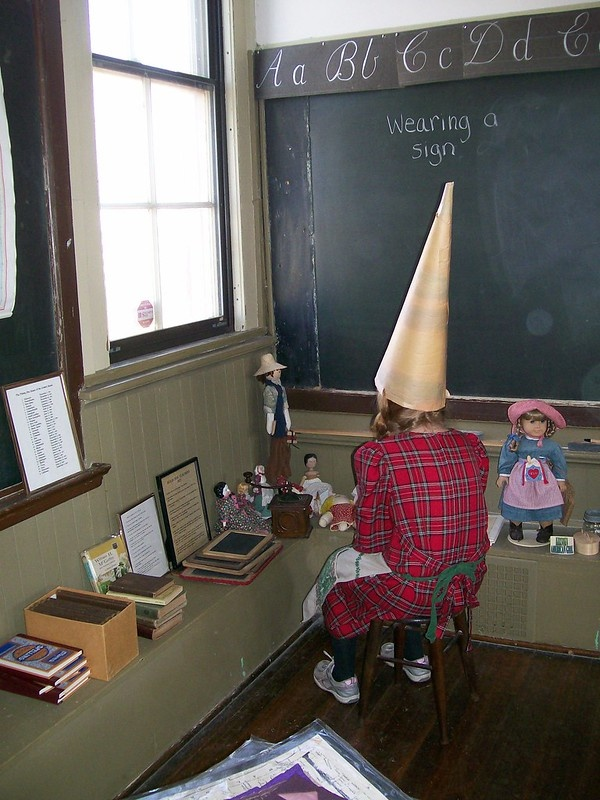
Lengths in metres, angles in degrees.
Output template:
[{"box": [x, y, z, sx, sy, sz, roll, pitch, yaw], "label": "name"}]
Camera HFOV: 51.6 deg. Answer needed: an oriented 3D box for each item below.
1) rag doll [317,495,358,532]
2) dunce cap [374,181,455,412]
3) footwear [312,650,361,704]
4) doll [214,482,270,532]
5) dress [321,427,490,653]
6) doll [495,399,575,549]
[{"box": [0.153, 0.468, 2.564, 0.171, 0.062, 0.207, -8, 28, -5], "label": "rag doll"}, {"box": [0.338, -0.284, 1.743, 0.241, 0.631, 0.196, -2, 6, -5], "label": "dunce cap"}, {"box": [0.117, 0.935, 2.141, 0.082, 0.091, 0.203, -7, 16, -27], "label": "footwear"}, {"box": [-0.257, 0.444, 2.620, 0.216, 0.220, 0.202, -3, 2, 6], "label": "doll"}, {"box": [0.306, 0.427, 1.824, 0.495, 0.696, 0.312, -1, 6, 6], "label": "dress"}, {"box": [0.868, 0.269, 2.303, 0.248, 0.560, 0.236, 4, 8, 43], "label": "doll"}]
